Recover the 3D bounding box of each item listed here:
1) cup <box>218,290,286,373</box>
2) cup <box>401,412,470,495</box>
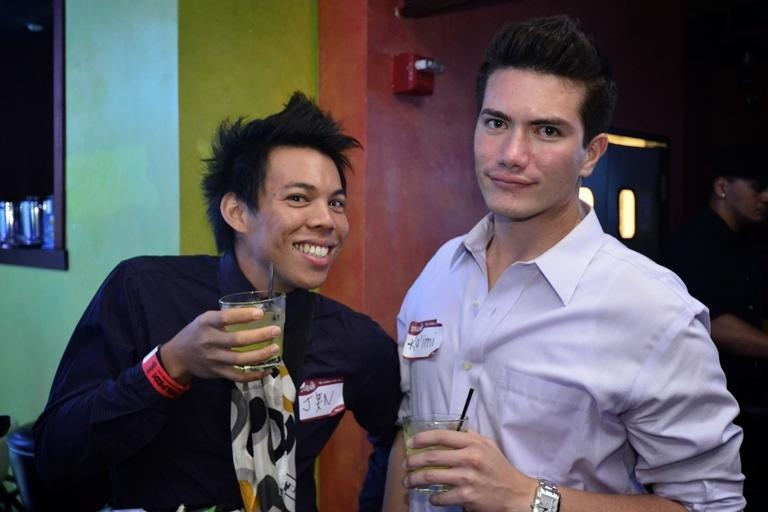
[{"bbox_3d":[-0.545,0.305,2.673,0.251,0.304,0.340,-1,2,-14],"label":"cup"},{"bbox_3d":[0.153,0.765,2.493,0.281,0.315,0.294,0,-17,0],"label":"cup"}]
